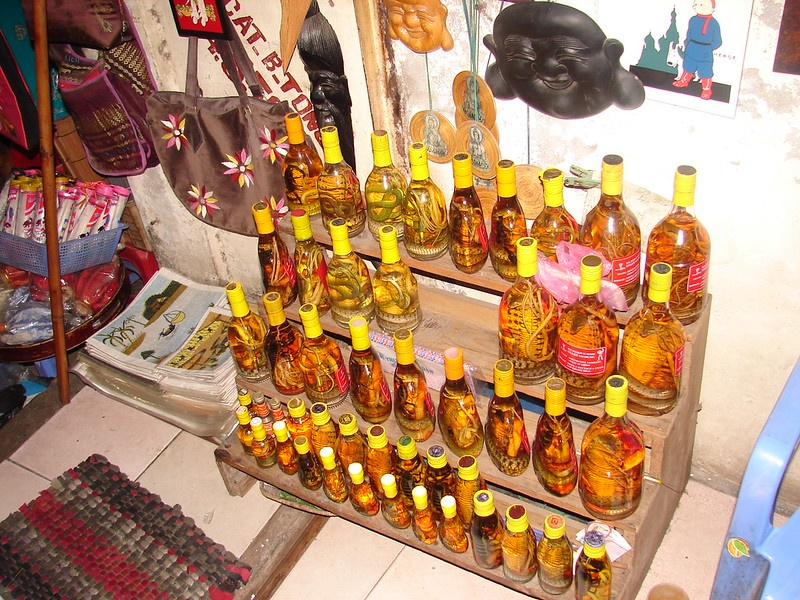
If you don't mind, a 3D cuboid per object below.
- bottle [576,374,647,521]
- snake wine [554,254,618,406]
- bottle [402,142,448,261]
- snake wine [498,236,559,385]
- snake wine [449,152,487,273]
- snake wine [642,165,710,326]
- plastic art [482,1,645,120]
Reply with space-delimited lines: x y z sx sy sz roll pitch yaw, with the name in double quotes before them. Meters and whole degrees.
"bottle" 0.545 0.374 1.397 0.158 0.361 0.151 -4 22 1
"snake wine" 0.459 0.066 1.324 0.139 0.342 0.134 4 27 22
"bottle" 0.071 -0.256 1.472 0.130 0.317 0.117 0 22 0
"snake wine" 0.331 0.015 1.390 0.141 0.346 0.135 -1 22 16
"snake wine" 0.187 -0.228 1.448 0.109 0.311 0.111 2 22 5
"snake wine" 0.674 -0.134 1.311 0.137 0.364 0.134 7 33 30
"plastic art" 0.415 -0.592 1.338 0.323 0.227 0.083 17 59 29
